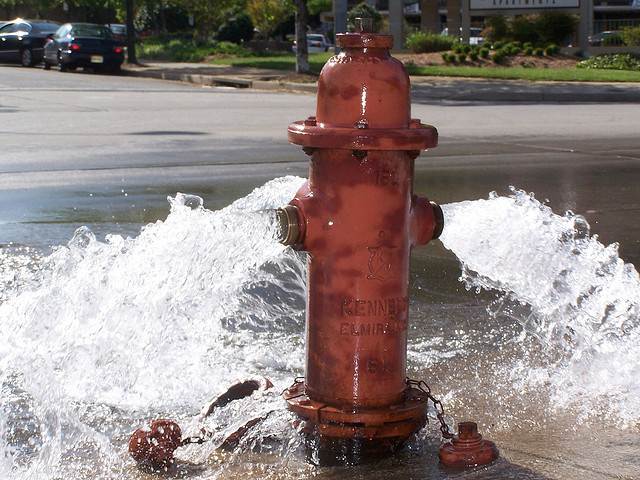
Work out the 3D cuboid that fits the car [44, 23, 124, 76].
[{"bbox_3d":[-6.078,-4.808,37.084,1.944,1.294,2.773,-9,13,-35],"label":"car"}]
